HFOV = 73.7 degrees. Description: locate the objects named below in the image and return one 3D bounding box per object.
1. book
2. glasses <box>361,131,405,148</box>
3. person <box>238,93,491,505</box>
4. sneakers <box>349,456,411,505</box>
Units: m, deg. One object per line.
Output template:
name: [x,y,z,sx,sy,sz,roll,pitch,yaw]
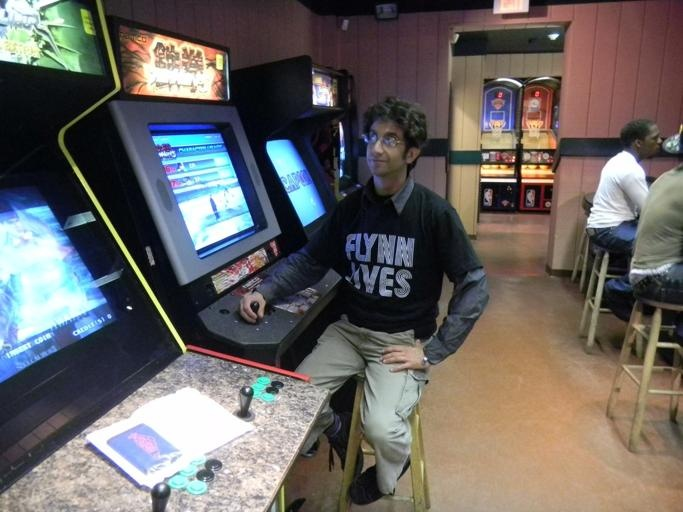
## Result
book: [-0.459,0.476,1.235,0.282,0.077,0.346,17,34,41]
glasses: [0.160,-0.528,2.054,0.100,0.058,0.230,-25,30,-33]
person: [0.174,0.282,2.126,0.955,1.852,0.831,-27,32,-38]
sneakers: [0.160,0.956,2.018,0.267,0.163,0.081,-33,12,5]
